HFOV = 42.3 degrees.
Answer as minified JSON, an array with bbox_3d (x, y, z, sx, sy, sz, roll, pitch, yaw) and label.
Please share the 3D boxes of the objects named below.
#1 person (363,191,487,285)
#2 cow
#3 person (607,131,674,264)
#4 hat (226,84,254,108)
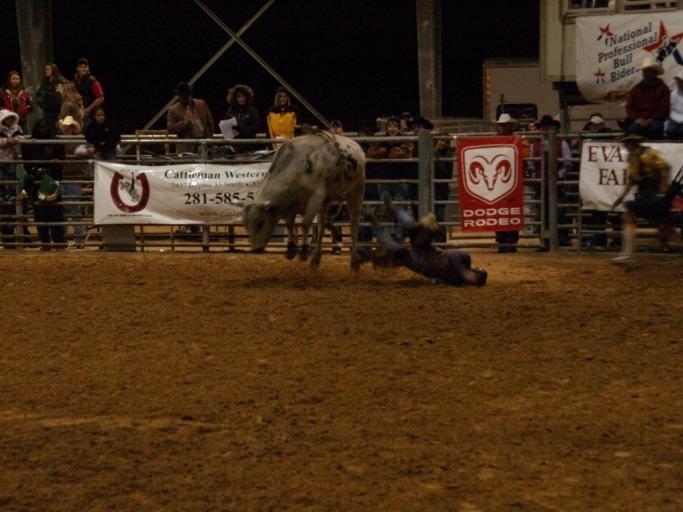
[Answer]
[{"bbox_3d":[1.160,-0.104,12.071,1.618,1.047,0.504,0,4,2],"label":"person"},{"bbox_3d":[-0.458,-0.746,12.271,0.827,2.002,2.120,2,5,32],"label":"cow"},{"bbox_3d":[4.660,-0.870,13.637,0.854,1.990,1.395,1,4,17],"label":"person"},{"bbox_3d":[-1.864,-2.974,16.432,0.438,0.169,0.454,-5,-22,-4],"label":"hat"}]
